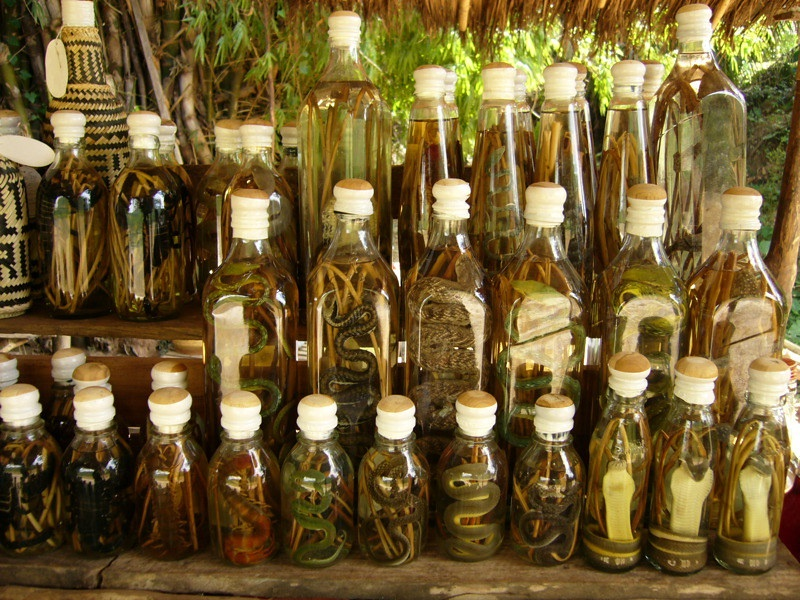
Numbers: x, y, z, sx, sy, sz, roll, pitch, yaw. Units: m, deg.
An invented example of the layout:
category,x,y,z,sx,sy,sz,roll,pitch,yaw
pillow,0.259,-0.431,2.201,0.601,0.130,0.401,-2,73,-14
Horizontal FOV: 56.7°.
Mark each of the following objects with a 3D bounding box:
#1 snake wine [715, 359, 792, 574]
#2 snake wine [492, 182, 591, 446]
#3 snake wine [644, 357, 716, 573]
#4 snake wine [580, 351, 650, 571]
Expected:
category,x,y,z,sx,sy,sz,roll,pitch,yaw
snake wine,0.490,0.234,1.037,0.085,0.302,0.053,3,11,25
snake wine,0.218,0.014,1.122,0.131,0.410,0.133,12,35,29
snake wine,0.397,0.231,1.044,0.089,0.301,0.074,2,11,22
snake wine,0.303,0.227,1.039,0.093,0.306,0.058,1,11,18
